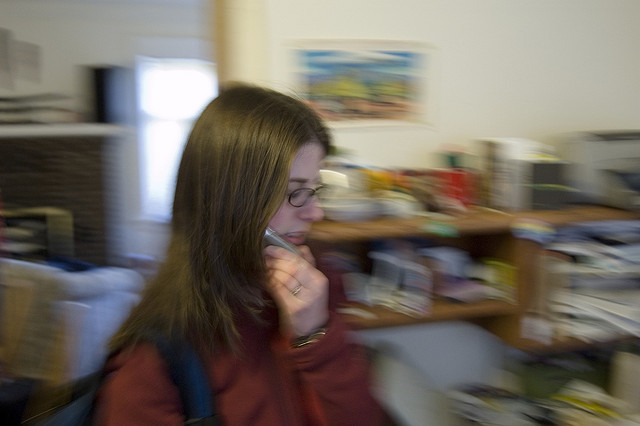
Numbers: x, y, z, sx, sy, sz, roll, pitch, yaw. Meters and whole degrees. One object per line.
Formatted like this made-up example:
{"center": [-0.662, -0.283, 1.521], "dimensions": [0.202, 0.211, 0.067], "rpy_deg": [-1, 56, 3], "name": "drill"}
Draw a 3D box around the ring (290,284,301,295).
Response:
{"center": [-0.064, 0.196, 1.238], "dimensions": [0.020, 0.005, 0.020], "rpy_deg": [-37, 2, 2], "name": "ring"}
